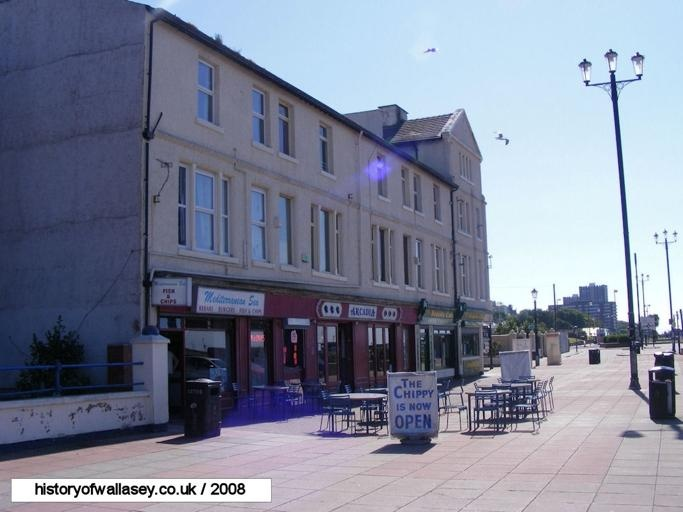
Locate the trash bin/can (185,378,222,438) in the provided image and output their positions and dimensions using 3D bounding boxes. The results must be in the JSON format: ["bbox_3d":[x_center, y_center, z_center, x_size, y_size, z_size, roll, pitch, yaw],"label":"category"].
[{"bbox_3d":[-3.326,3.660,17.436,0.896,1.321,0.602,5,-2,-14],"label":"trash bin/can"}]

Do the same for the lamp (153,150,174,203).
[{"bbox_3d":[-4.919,-2.035,19.959,0.305,1.225,0.851,3,-2,16],"label":"lamp"}]
